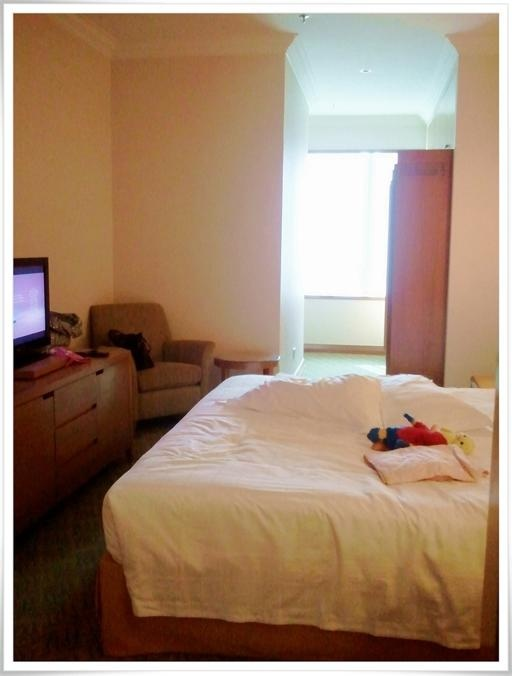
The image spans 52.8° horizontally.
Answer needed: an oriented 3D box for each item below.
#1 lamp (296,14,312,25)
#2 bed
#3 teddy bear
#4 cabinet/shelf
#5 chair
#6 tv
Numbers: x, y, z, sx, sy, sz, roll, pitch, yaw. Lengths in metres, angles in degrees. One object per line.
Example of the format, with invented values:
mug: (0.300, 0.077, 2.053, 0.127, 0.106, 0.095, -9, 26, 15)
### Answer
lamp: (0.346, -2.232, 3.663, 0.097, 0.088, 0.050, -2, 9, -17)
bed: (0.120, 0.529, 1.485, 0.747, 0.455, 0.937, 2, 7, 8)
teddy bear: (0.549, 0.336, 1.750, 0.192, 0.117, 0.161, -3, 2, 5)
cabinet/shelf: (-0.857, 0.505, 2.655, 0.818, 0.533, 0.232, -25, -20, 23)
chair: (-0.792, 0.215, 4.043, 0.807, 1.149, 0.985, -6, -3, 5)
tv: (-1.198, -0.169, 2.701, 0.298, 0.438, 0.030, -4, -1, 23)
